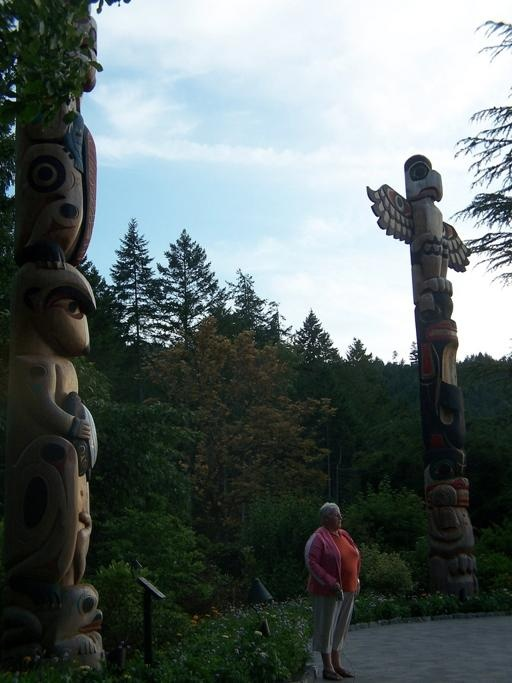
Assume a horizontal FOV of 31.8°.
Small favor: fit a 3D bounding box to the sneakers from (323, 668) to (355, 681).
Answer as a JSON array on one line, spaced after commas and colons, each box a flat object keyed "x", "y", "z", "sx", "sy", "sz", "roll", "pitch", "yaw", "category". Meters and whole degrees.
[{"x": 0.759, "y": 3.165, "z": 8.562, "sx": 0.338, "sy": 0.146, "sz": 0.115, "roll": -3, "pitch": -10, "yaw": -4, "category": "sneakers"}]

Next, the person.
[{"x": 0.753, "y": 2.377, "z": 8.632, "sx": 0.514, "sy": 1.647, "sz": 0.727, "roll": -4, "pitch": -10, "yaw": 4, "category": "person"}]
